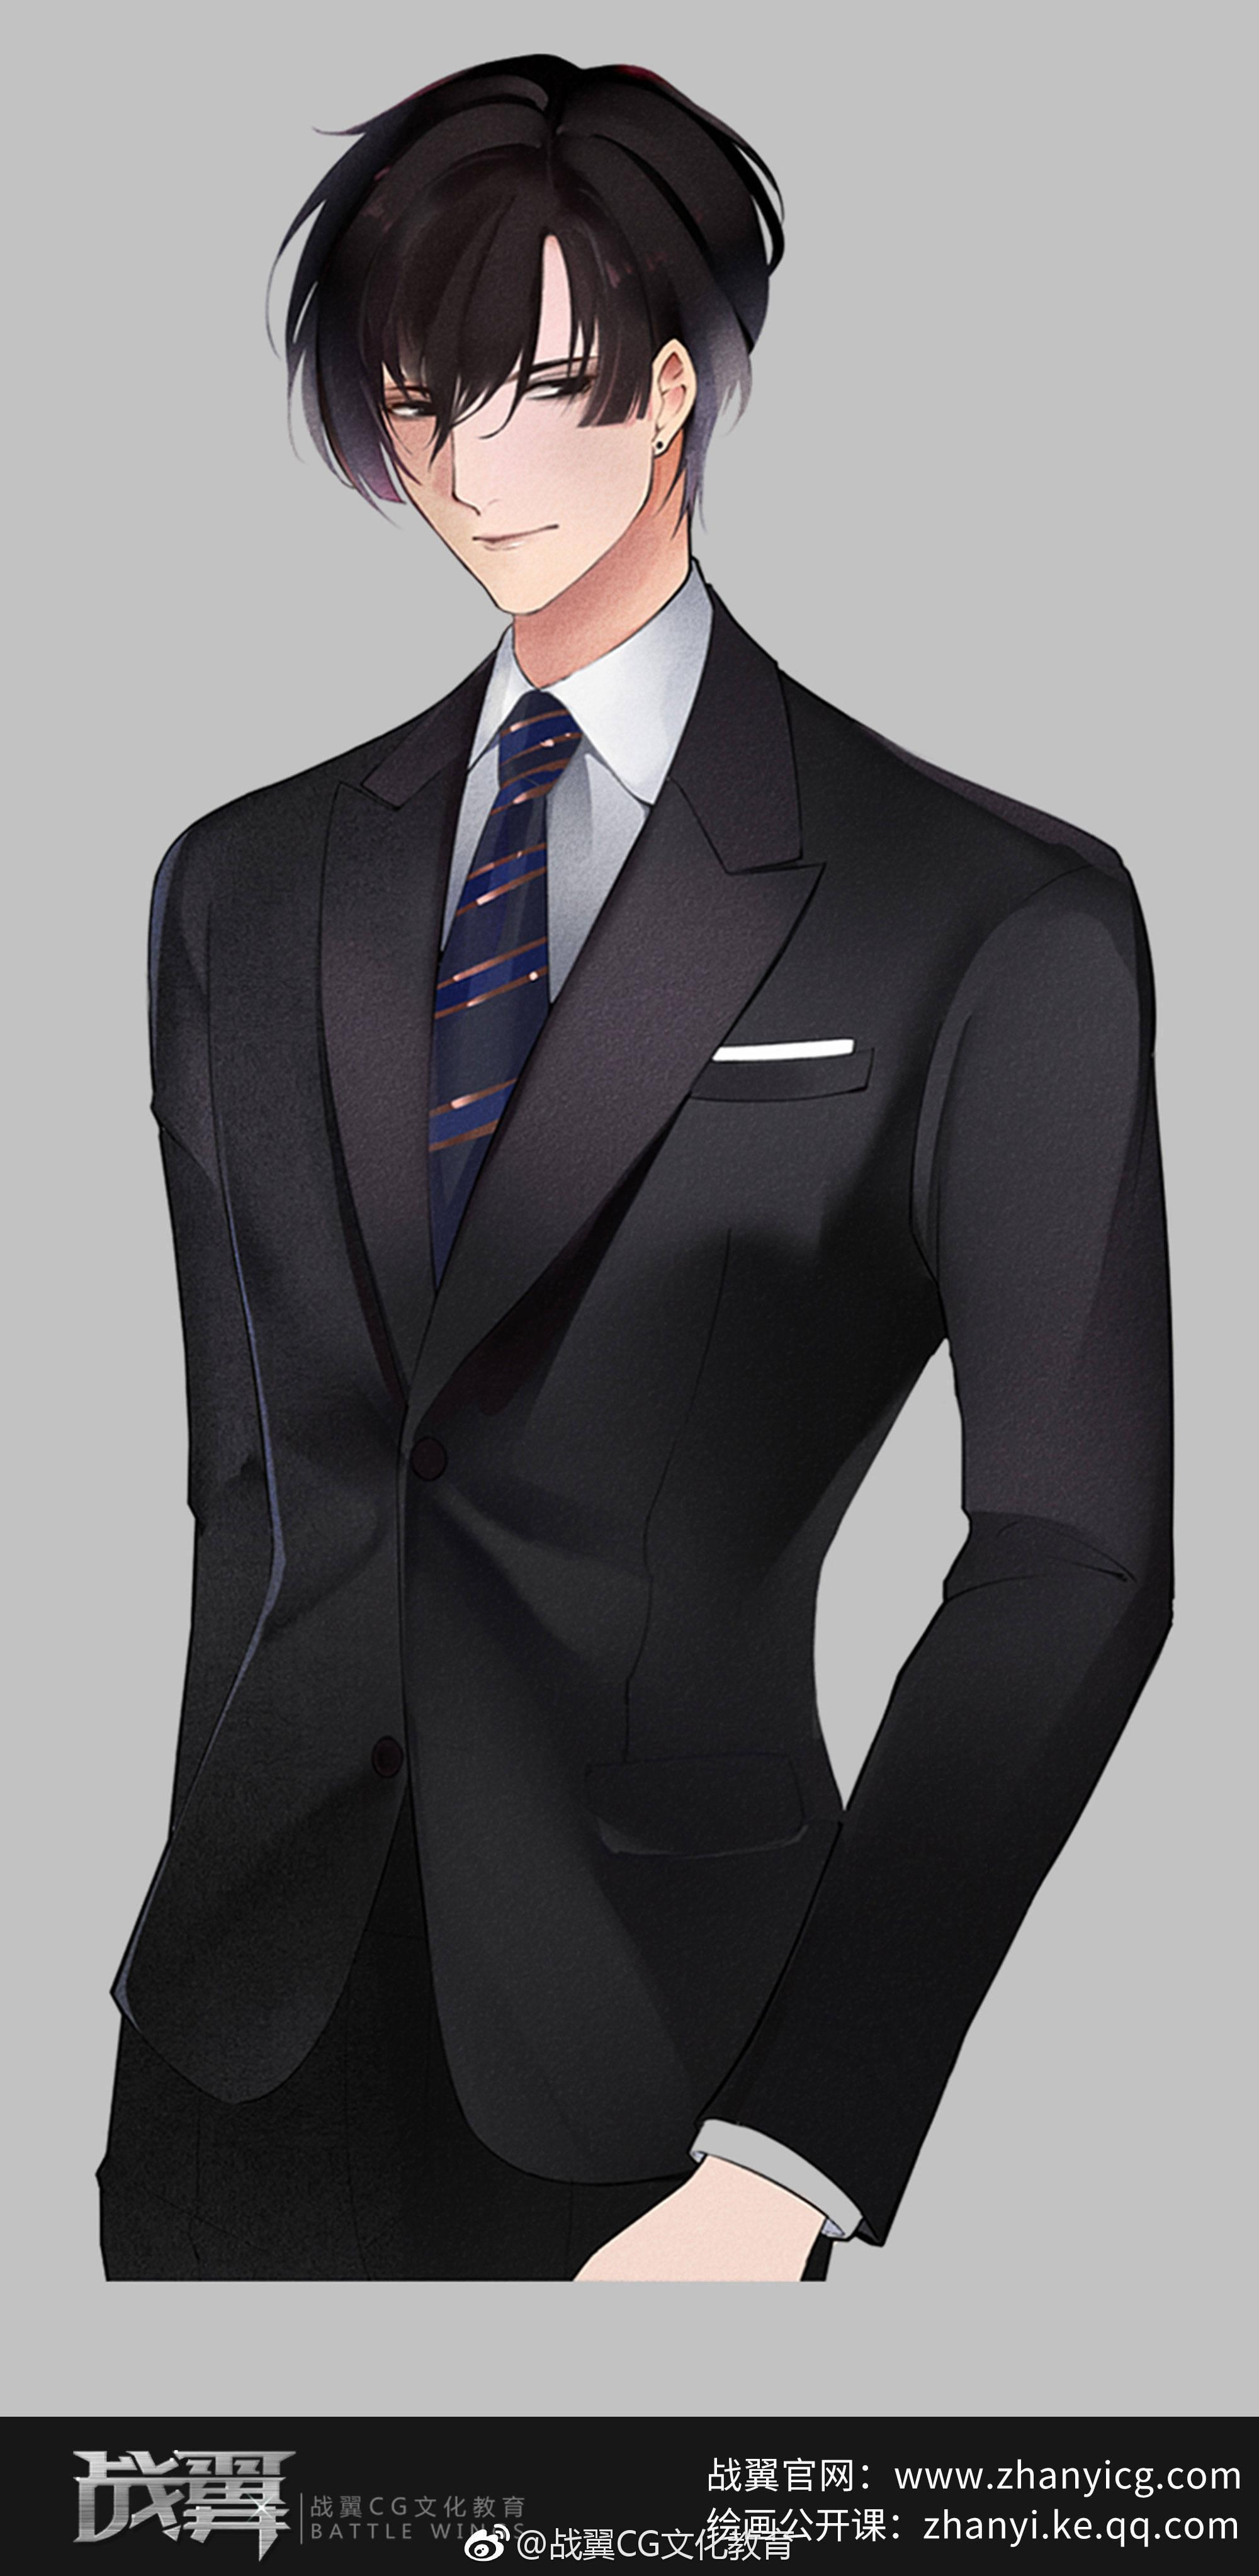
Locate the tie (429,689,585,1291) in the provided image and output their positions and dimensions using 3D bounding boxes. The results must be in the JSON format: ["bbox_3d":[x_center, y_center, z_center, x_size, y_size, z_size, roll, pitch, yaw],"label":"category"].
[{"bbox_3d":[-0.121,-0.358,2.818,0.124,0.744,0.079,7,-16,21],"label":"tie"}]
